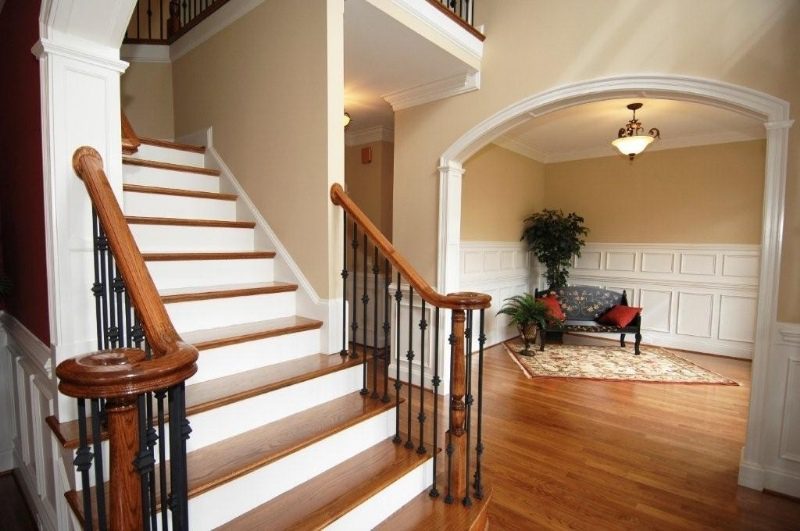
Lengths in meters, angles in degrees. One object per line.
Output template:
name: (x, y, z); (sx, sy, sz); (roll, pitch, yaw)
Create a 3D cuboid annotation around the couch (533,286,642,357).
couch: (2.650, 0.769, 7.987); (1.339, 0.924, 0.695); (1, 5, 4)

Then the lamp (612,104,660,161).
lamp: (2.891, -1.600, 7.028); (0.674, 0.667, 0.683); (0, -2, 38)

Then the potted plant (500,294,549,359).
potted plant: (1.773, 0.825, 7.751); (0.792, 0.773, 0.777); (1, -3, -7)

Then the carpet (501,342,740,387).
carpet: (2.768, 1.279, 7.152); (2.521, 0.214, 1.444); (-2, 4, 4)

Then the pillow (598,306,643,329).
pillow: (3.117, 0.718, 7.791); (0.550, 0.280, 0.442); (0, 4, 19)
